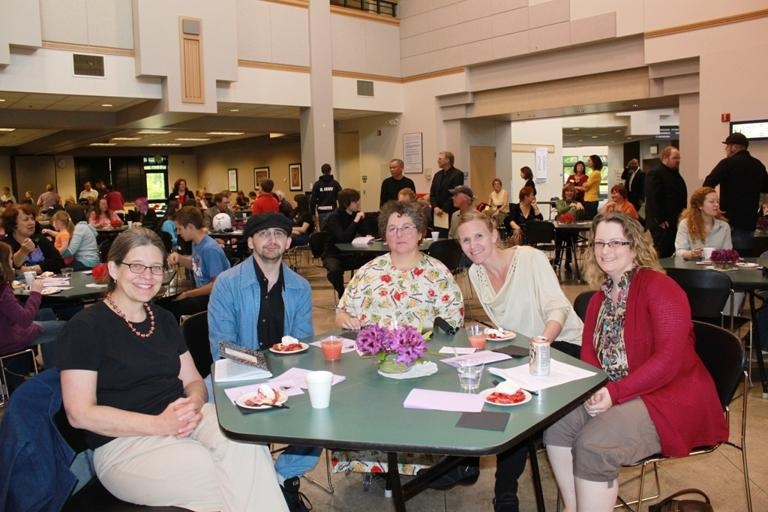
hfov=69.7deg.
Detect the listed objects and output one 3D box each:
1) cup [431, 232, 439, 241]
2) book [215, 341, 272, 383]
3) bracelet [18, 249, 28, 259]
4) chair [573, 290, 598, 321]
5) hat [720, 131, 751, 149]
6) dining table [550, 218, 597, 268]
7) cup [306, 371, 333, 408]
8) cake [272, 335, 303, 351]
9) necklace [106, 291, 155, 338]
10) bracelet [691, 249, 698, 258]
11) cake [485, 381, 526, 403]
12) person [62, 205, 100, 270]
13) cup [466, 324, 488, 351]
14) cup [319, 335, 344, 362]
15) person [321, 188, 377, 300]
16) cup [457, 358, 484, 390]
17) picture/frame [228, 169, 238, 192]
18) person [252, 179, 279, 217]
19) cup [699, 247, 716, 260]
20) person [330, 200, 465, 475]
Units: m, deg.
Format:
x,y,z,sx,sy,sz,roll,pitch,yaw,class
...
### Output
x,y,z,sx,sy,sz,roll,pitch,yaw,class
0.670,-0.245,6.916,0.110,0.109,0.103,0,8,0,cup
-0.658,0.501,2.568,0.206,0.063,0.206,-1,16,-21,book
-3.608,-0.018,5.521,0.087,0.085,0.087,4,-4,-10,bracelet
1.225,0.302,3.388,0.175,0.232,0.197,-3,-4,24,chair
4.162,-1.363,6.618,0.253,0.175,0.333,-6,19,-30,hat
2.614,-0.197,7.700,0.865,0.810,0.831,1,4,12,dining table
-0.247,0.530,2.255,0.137,0.124,0.134,-2,2,0,cup
-0.502,0.440,2.869,0.093,0.036,0.095,-1,1,26,cake
-1.159,0.282,2.557,0.029,0.230,0.177,-40,5,35,necklace
2.738,-0.025,4.811,0.048,0.057,0.063,5,28,12,bracelet
0.511,0.564,2.273,0.097,0.043,0.094,-2,4,-14,cake
-3.748,-0.234,6.657,0.556,0.783,0.513,1,5,-33,person
0.494,0.419,2.878,0.109,0.092,0.095,-13,13,-41,cup
-0.254,0.461,2.750,0.099,0.075,0.103,0,6,0,cup
-0.564,-0.163,7.226,0.734,1.284,0.754,27,19,35,person
0.382,0.511,2.419,0.114,0.084,0.110,-4,8,1,cup
-5.456,-2.752,20.023,0.133,0.834,0.682,-8,13,-39,picture/frame
-2.042,-0.916,9.697,0.482,0.814,0.432,-7,18,-35,person
2.727,-0.023,4.658,0.121,0.114,0.148,-1,-3,-15,cup
0.120,0.529,3.354,0.787,1.659,0.706,-3,2,9,person
